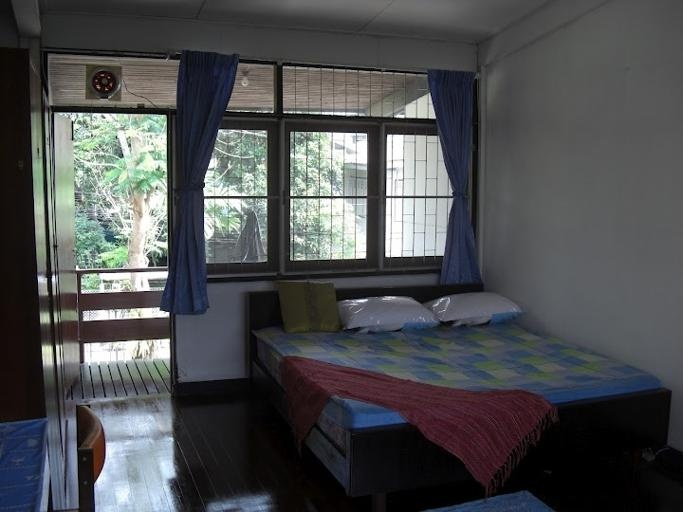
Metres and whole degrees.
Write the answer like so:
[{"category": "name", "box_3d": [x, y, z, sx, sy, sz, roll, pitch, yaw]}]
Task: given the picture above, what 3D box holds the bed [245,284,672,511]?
[{"category": "bed", "box_3d": [0.711, 0.904, 4.043, 2.298, 0.910, 2.445, -3, 9, -24]}]
